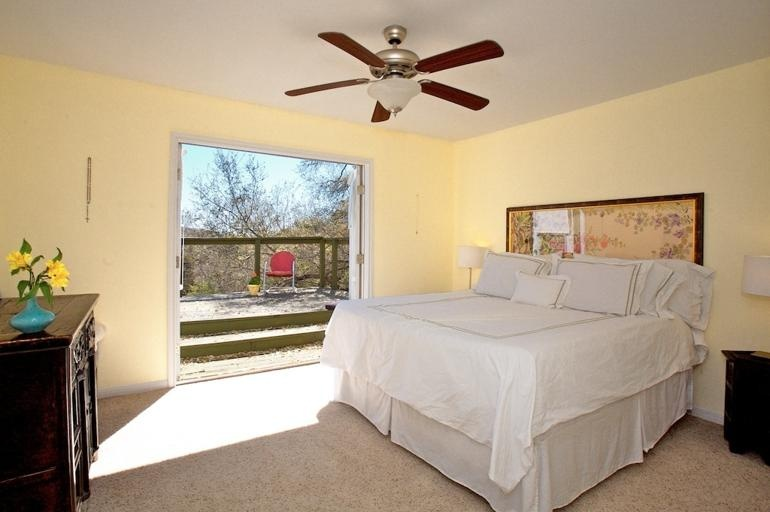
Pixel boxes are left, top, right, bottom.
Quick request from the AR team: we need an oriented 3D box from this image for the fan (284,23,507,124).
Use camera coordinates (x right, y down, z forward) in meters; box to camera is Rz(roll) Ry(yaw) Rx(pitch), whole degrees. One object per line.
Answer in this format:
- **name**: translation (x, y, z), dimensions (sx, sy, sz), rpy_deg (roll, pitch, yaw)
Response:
- **fan**: translation (0.155, -1.419, 3.699), dimensions (1.341, 0.672, 1.120), rpy_deg (1, 11, -2)

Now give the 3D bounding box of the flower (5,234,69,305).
- **flower**: translation (-2.670, 0.099, 3.615), dimensions (0.555, 0.537, 0.480), rpy_deg (2, 4, -22)

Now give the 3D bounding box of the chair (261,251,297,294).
- **chair**: translation (-1.820, 0.290, 8.429), dimensions (0.723, 0.931, 0.676), rpy_deg (0, -4, 1)

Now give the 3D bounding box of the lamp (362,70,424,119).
- **lamp**: translation (0.063, -1.214, 3.618), dimensions (0.294, 0.209, 0.300), rpy_deg (-3, -10, 38)
